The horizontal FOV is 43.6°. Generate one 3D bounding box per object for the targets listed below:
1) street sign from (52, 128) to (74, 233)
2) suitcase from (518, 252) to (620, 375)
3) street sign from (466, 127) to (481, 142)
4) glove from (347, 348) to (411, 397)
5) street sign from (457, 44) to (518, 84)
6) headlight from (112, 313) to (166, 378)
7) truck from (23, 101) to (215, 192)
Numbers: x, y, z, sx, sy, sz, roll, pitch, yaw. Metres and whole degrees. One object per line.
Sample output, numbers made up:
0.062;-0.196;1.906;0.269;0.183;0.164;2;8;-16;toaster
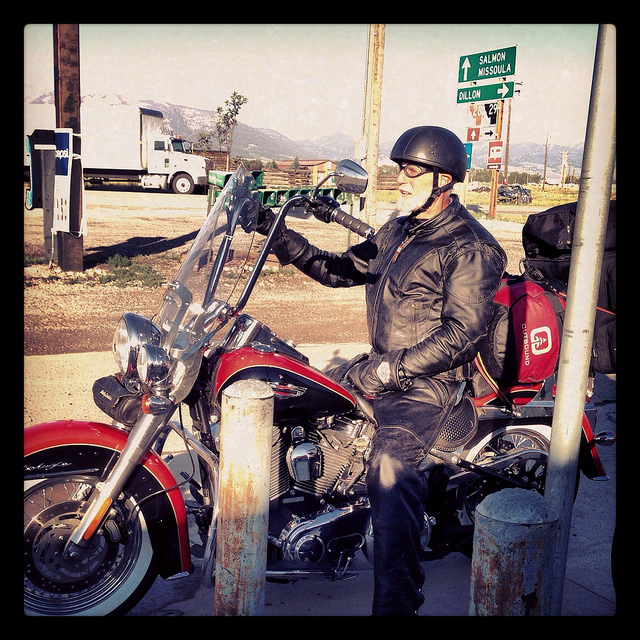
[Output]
-3.880;-2.080;11.911;0.282;1.542;0.847;-2;11;-20;street sign
1.590;0.030;5.563;0.785;1.053;0.693;-2;0;6;suitcase
2.992;-3.606;15.484;0.175;0.286;0.404;-5;15;-34;street sign
0.301;0.265;4.204;0.336;0.293;0.201;5;11;8;glove
2.920;-4.460;13.976;0.333;0.573;1.540;-3;15;-27;street sign
-0.868;0.085;3.701;0.183;0.327;0.266;7;2;-25;headlight
-6.357;-6.126;28.276;4.426;2.981;2.729;3;11;-4;truck
